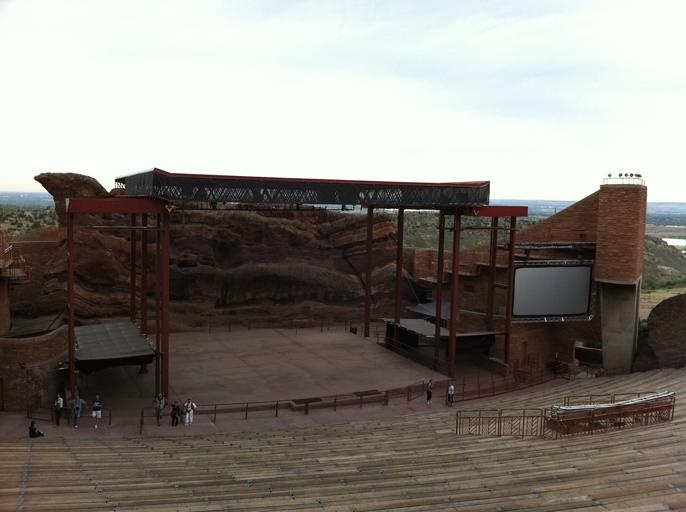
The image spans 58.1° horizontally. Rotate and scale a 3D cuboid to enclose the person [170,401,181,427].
[{"bbox_3d":[-8.642,7.990,31.771,0.544,1.148,1.128,-1,3,-15],"label":"person"}]
